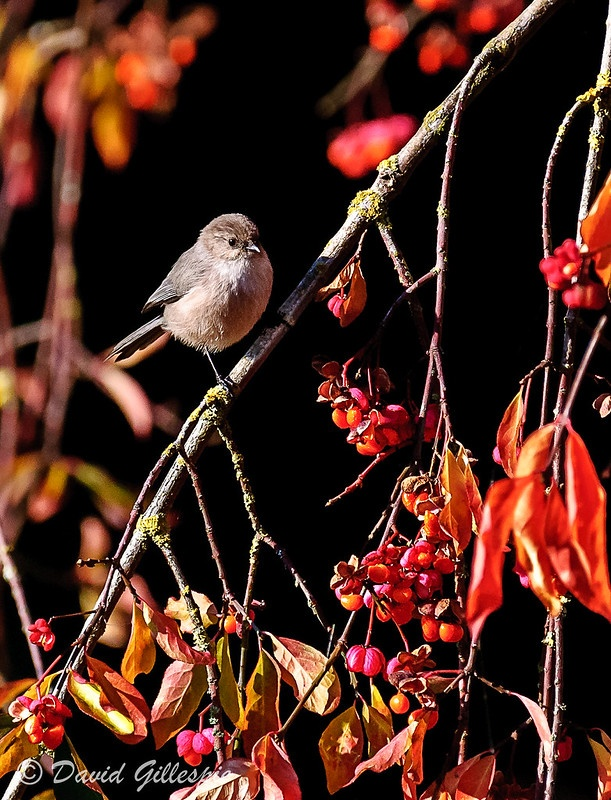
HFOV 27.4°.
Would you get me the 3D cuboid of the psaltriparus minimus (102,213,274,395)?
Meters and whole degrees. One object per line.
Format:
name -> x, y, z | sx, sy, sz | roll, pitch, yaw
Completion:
psaltriparus minimus -> -0.204, -0.219, 2.708 | 0.417, 0.397, 0.235 | -4, -26, 10
